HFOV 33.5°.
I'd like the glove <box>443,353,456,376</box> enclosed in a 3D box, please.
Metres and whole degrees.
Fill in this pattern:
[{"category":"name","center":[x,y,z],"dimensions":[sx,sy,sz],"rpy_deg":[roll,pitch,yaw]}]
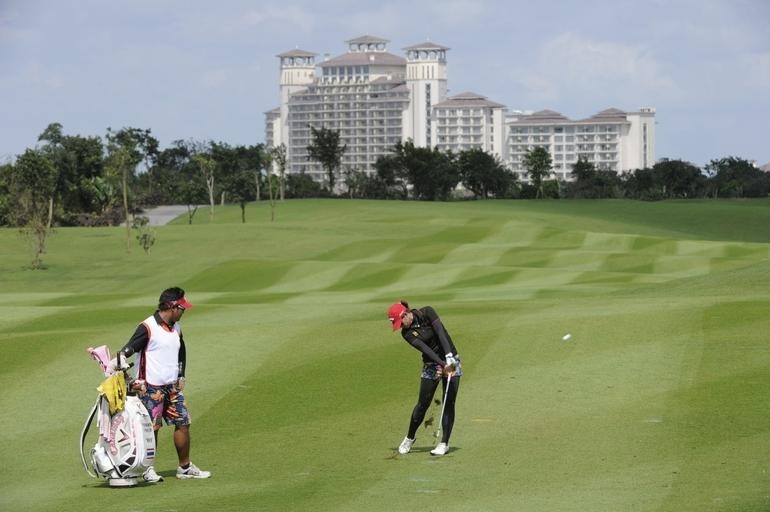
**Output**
[{"category":"glove","center":[1.796,2.931,34.289],"dimensions":[0.147,0.528,0.378],"rpy_deg":[5,8,40]}]

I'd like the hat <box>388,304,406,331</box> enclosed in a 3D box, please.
[{"category":"hat","center":[0.400,1.654,34.508],"dimensions":[0.455,0.721,0.416],"rpy_deg":[-5,-28,36]}]

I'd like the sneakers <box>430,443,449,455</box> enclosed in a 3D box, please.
[{"category":"sneakers","center":[1.516,5.269,34.667],"dimensions":[0.521,0.231,0.256],"rpy_deg":[1,-6,-14]}]

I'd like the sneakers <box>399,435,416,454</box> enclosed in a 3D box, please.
[{"category":"sneakers","center":[0.654,5.115,34.908],"dimensions":[0.238,0.260,0.646],"rpy_deg":[19,38,11]}]

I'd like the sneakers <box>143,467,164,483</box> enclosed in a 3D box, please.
[{"category":"sneakers","center":[-6.035,5.790,33.477],"dimensions":[0.263,0.274,0.613],"rpy_deg":[2,-5,-38]}]
